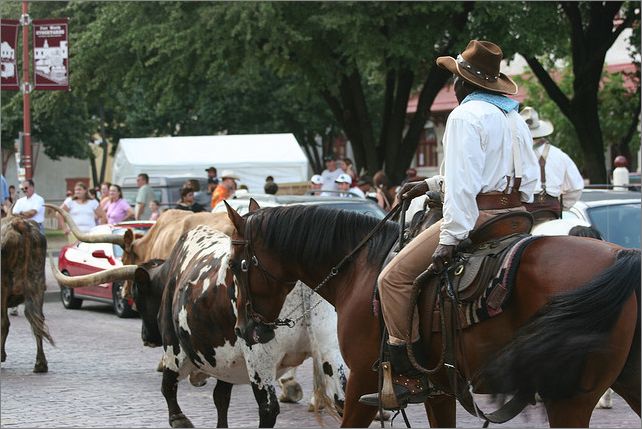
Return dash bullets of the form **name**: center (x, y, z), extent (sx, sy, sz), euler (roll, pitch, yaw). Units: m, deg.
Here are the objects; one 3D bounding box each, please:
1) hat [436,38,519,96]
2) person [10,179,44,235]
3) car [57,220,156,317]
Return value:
- **hat**: center (3.120, -2.845, 26.766), extent (1.346, 0.564, 1.055), euler (33, 20, 21)
- **person**: center (-7.663, -0.258, 36.543), extent (0.977, 2.254, 1.008), euler (1, -2, -6)
- **car**: center (-4.986, 1.475, 36.788), extent (2.667, 2.209, 4.567), euler (0, 2, -43)
